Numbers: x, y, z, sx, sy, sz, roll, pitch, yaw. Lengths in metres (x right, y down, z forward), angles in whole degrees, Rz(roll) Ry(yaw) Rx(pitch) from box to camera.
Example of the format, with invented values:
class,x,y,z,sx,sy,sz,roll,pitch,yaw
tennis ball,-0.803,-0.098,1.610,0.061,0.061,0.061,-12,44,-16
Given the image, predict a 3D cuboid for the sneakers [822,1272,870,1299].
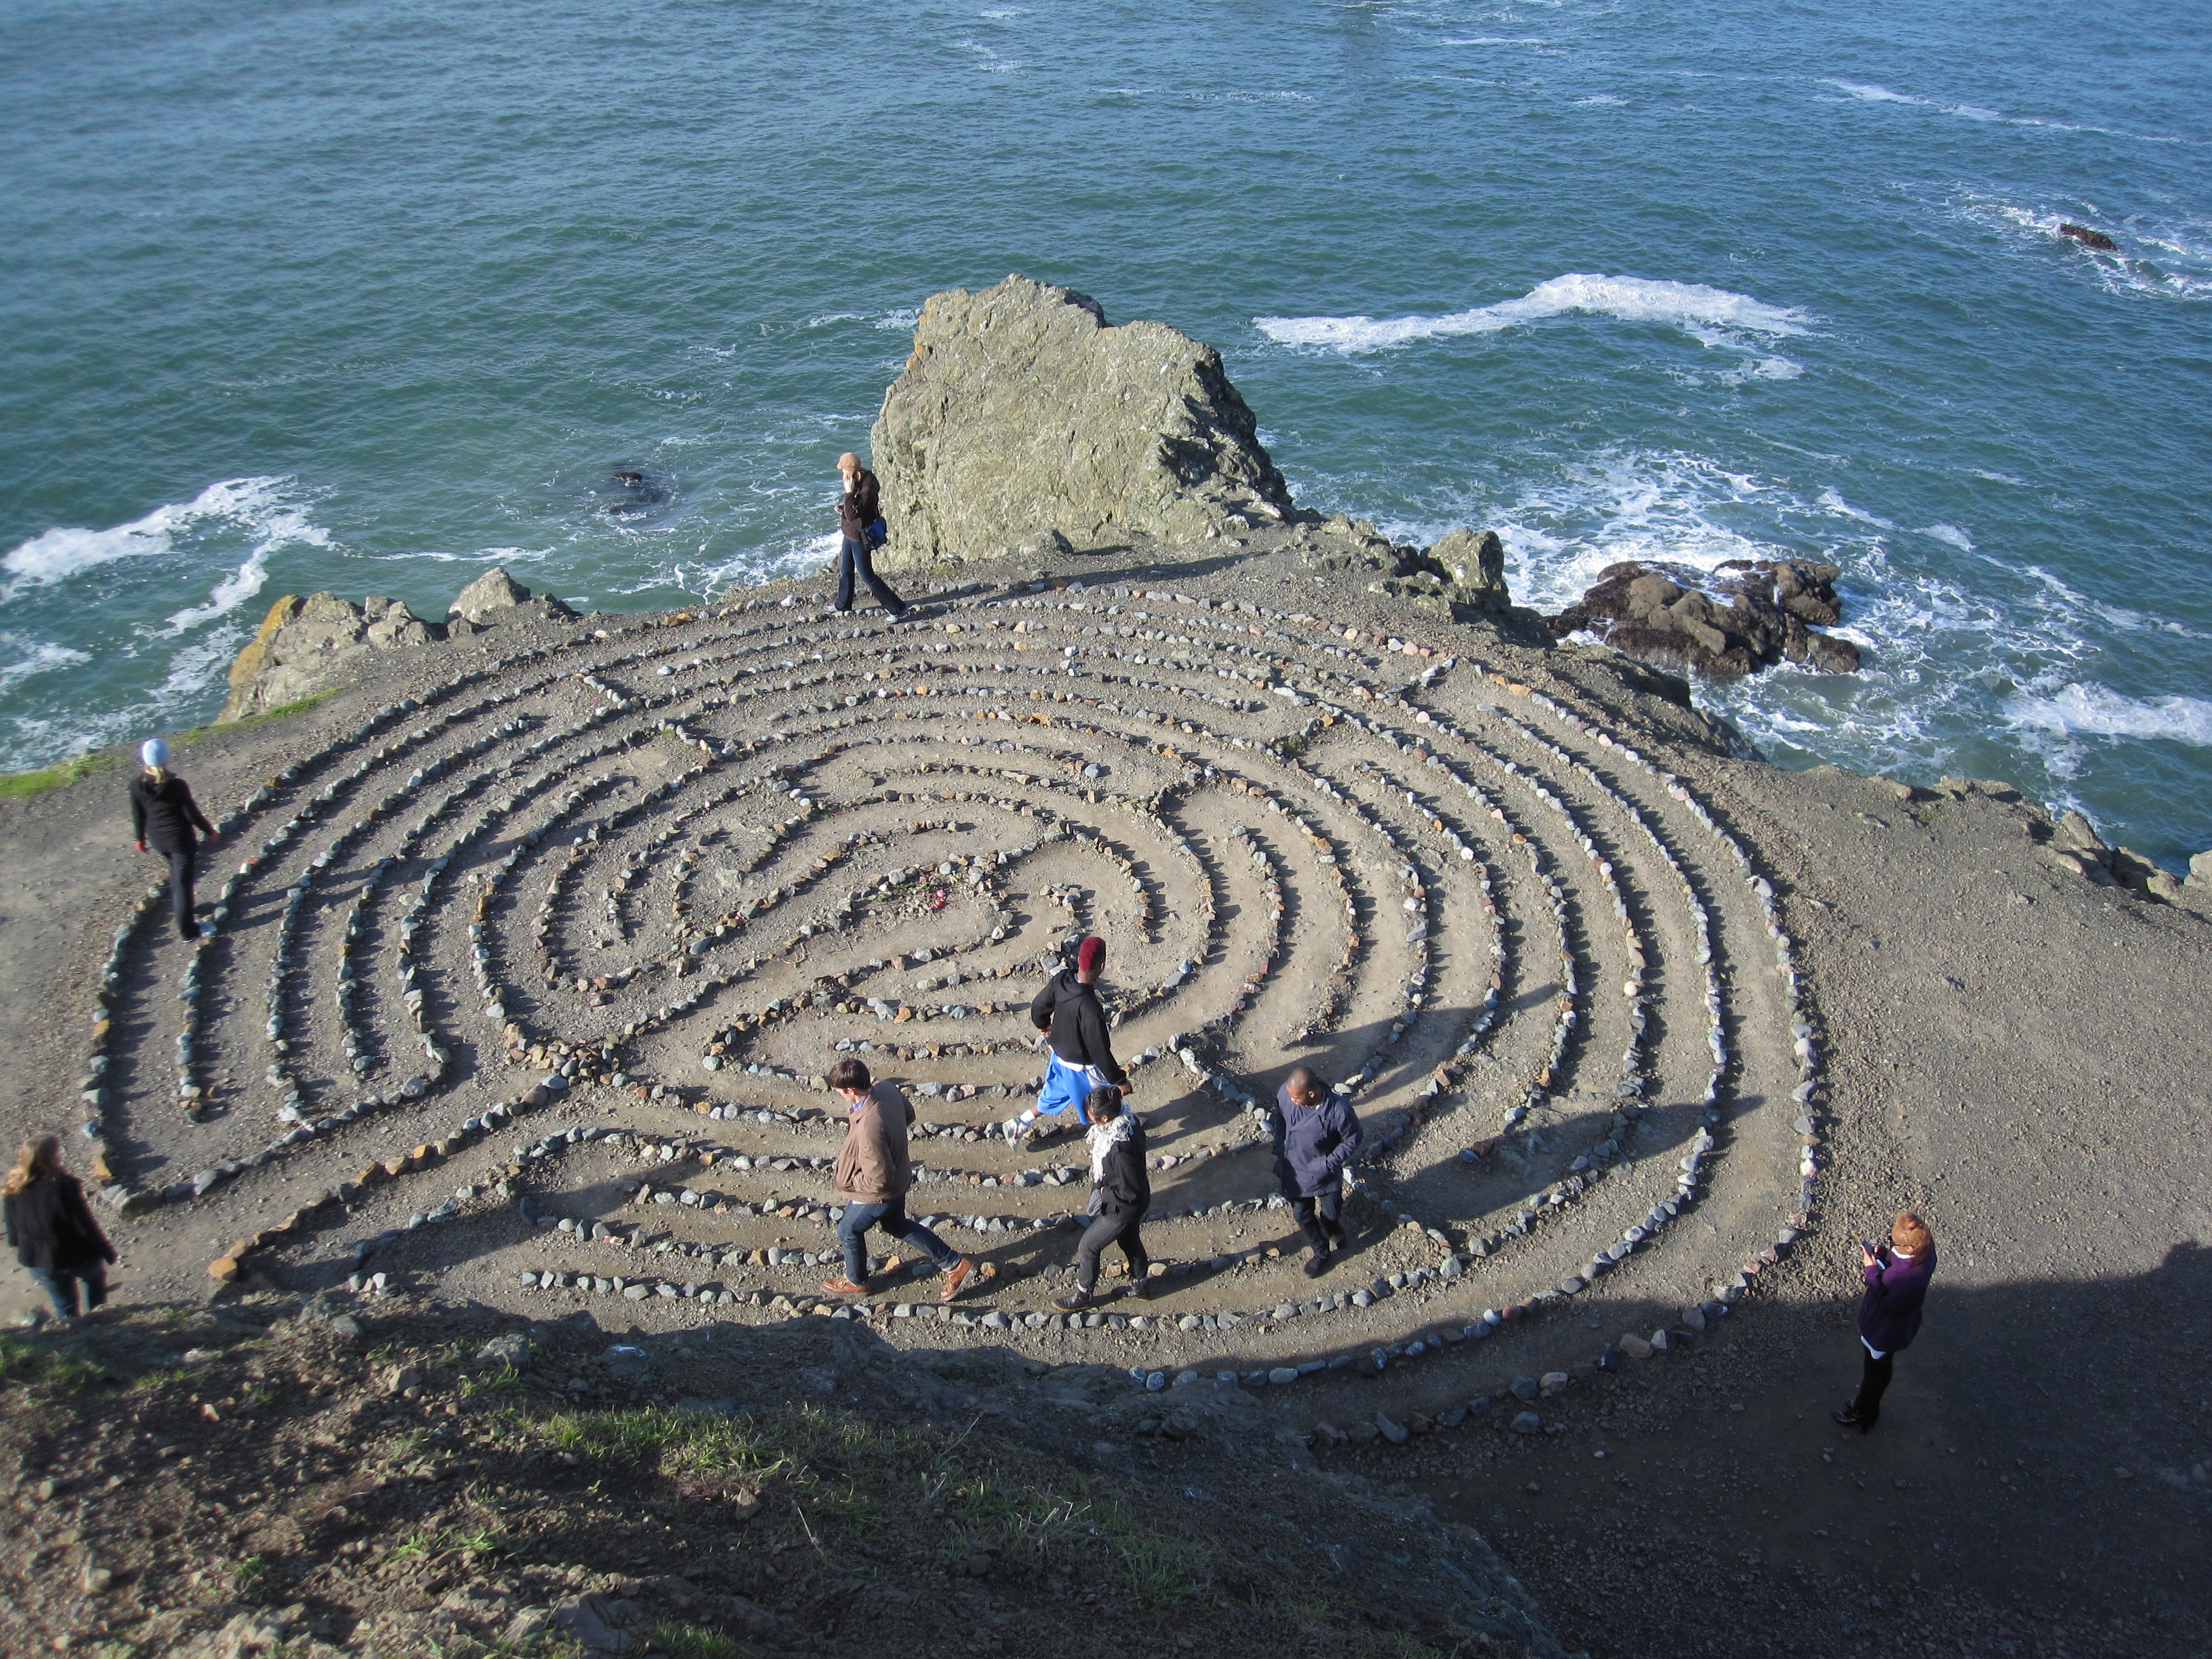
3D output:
class,x,y,z,sx,sy,sz,roll,pitch,yaw
sneakers,-3.487,6.135,31.758,0.610,0.271,0.232,3,47,2
